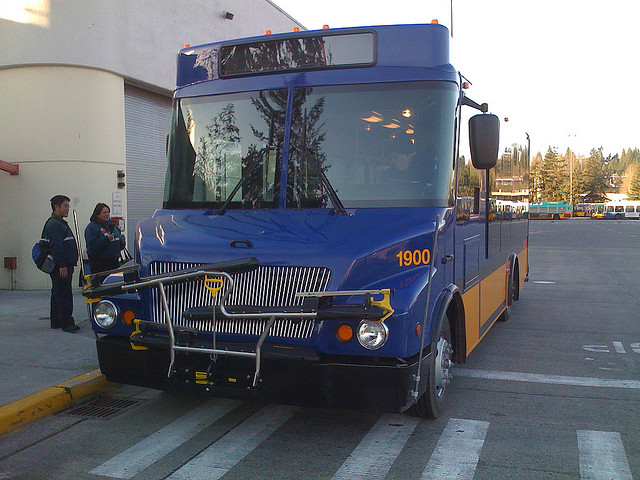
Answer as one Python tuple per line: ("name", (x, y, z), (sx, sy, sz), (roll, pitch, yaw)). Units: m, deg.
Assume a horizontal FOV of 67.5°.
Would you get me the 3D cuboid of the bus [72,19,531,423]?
("bus", (-0.203, -0.383, 4.422), (3.192, 3.461, 1.543), (0, 3, 8))
